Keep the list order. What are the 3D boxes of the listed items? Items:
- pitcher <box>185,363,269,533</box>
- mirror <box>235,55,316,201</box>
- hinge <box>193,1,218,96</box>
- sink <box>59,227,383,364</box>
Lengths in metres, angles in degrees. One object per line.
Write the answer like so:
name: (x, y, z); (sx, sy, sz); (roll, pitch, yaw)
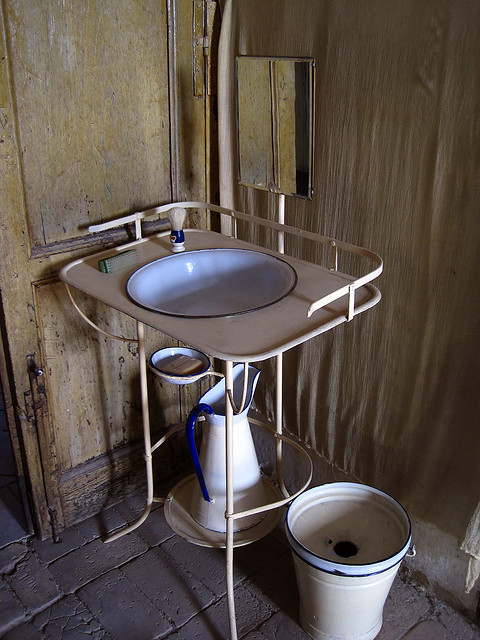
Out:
pitcher: (-0.037, 0.290, 1.362); (0.219, 0.491, 0.348); (1, 22, 4)
mirror: (0.075, -0.450, 1.234); (0.026, 0.299, 0.236); (-24, 34, -36)
hinge: (-0.091, -0.718, 1.422); (0.071, 0.224, 0.045); (-7, 22, -15)
sink: (-0.064, -0.057, 1.140); (0.431, 0.118, 0.651); (-20, 30, -39)
